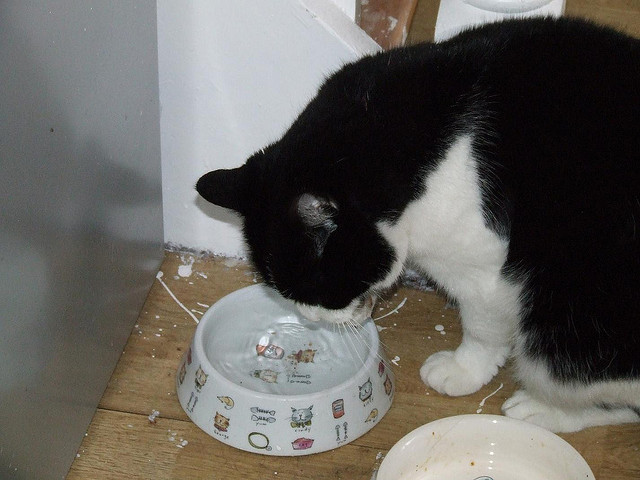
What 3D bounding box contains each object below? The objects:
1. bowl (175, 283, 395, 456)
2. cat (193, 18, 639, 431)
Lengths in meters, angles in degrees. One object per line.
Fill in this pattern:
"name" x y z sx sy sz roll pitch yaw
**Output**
"bowl" -0.063 0.226 1.530 0.492 0.147 0.522 22 16 -7
"cat" 0.250 -0.085 1.376 0.980 0.596 0.616 -16 47 18
